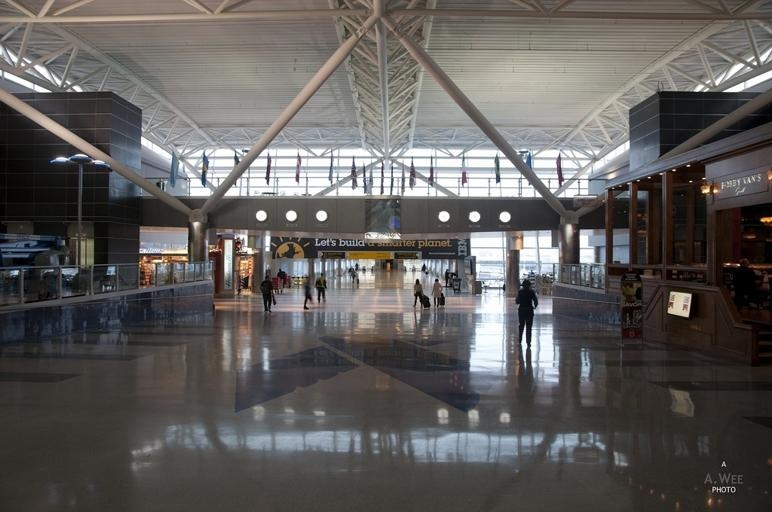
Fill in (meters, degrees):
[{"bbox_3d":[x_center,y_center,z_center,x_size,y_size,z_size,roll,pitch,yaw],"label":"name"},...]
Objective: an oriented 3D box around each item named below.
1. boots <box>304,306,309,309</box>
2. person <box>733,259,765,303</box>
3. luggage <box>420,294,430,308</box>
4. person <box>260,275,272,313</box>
[{"bbox_3d":[-4.011,2.606,30.274,0.334,0.217,0.132,-5,6,-25],"label":"boots"},{"bbox_3d":[11.779,0.880,19.528,0.719,1.245,1.883,0,0,39],"label":"person"},{"bbox_3d":[1.940,2.300,30.176,0.453,0.635,1.230,0,0,4],"label":"luggage"},{"bbox_3d":[-5.750,1.850,28.937,0.435,1.672,1.459,0,0,-8],"label":"person"}]
